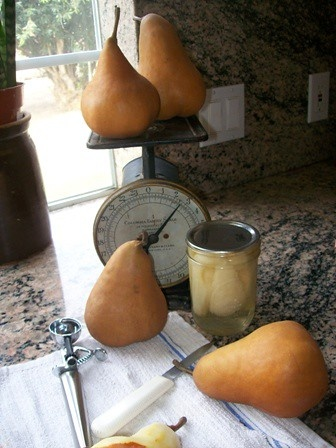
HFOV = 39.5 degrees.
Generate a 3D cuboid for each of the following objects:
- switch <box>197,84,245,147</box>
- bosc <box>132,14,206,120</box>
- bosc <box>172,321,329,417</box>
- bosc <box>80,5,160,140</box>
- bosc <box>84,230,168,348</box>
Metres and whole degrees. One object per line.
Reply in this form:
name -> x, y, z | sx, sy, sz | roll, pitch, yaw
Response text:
switch -> 0.097, -0.221, 0.983 | 0.078, 0.135, 0.118 | -14, 27, -29
bosc -> -0.007, -0.210, 0.624 | 0.089, 0.126, 0.085 | -8, 30, -19
bosc -> 0.083, 0.136, 0.440 | 0.127, 0.080, 0.061 | 2, 18, 16
bosc -> -0.053, -0.175, 0.546 | 0.091, 0.144, 0.077 | -3, 29, -7
bosc -> -0.046, 0.076, 0.587 | 0.105, 0.112, 0.102 | -15, 27, -36
